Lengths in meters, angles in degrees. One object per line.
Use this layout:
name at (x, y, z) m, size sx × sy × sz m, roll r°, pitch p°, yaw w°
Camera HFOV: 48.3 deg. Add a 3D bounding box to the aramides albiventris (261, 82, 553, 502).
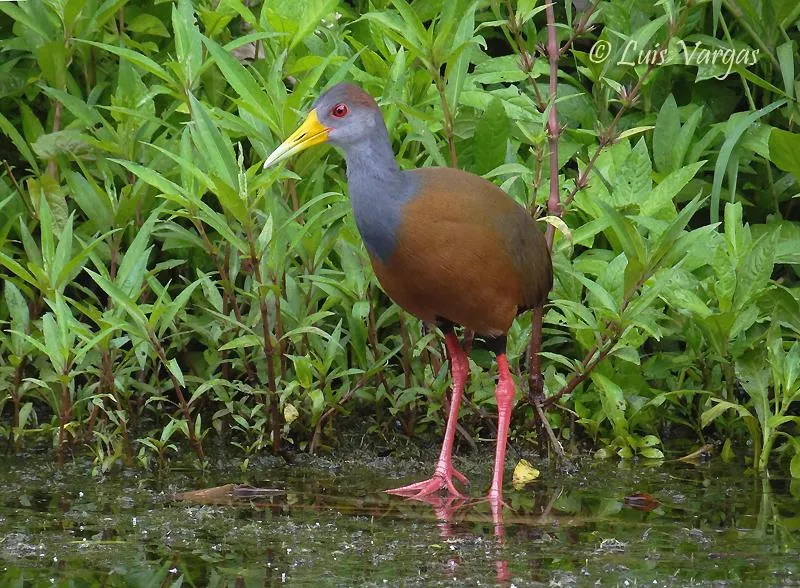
aramides albiventris at (0.152, -0.024, 4.776) m, size 1.399 × 2.180 × 0.538 m, roll 0°, pitch 7°, yaw -2°
